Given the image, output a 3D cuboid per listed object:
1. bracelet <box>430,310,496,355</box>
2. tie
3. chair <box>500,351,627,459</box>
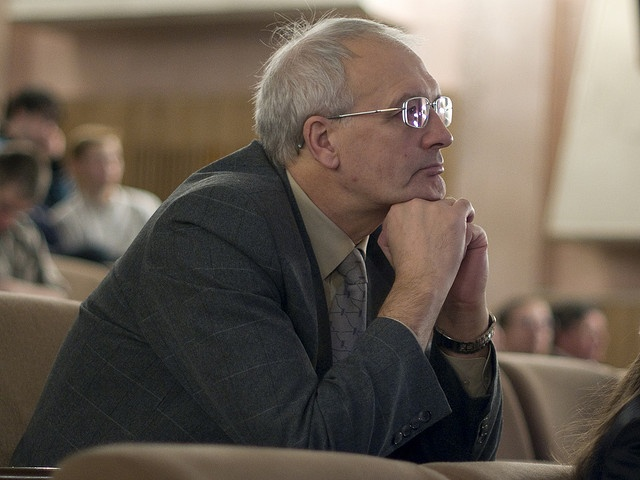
[{"bbox_3d":[0.312,0.215,2.006,0.128,0.055,0.146,18,15,-19],"label":"bracelet"},{"bbox_3d":[0.063,0.143,1.887,0.067,0.261,0.062,3,-2,6],"label":"tie"},{"bbox_3d":[0.642,0.459,2.272,0.270,0.346,0.250,-16,-11,18],"label":"chair"}]
